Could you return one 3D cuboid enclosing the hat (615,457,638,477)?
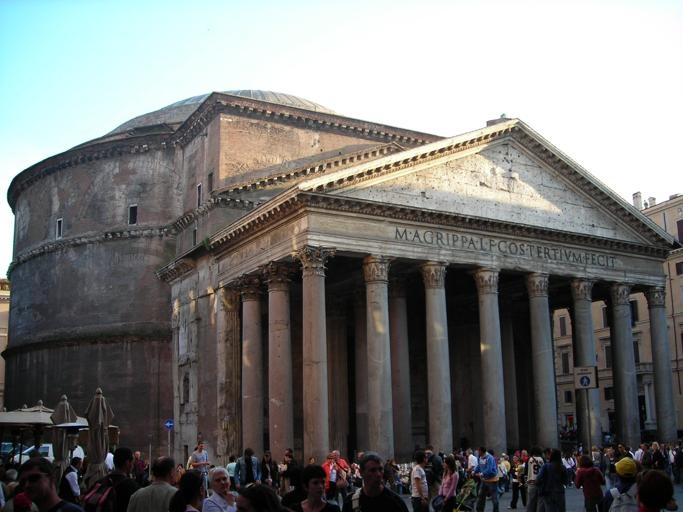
[{"bbox_3d":[6.103,4.523,18.597,0.451,0.325,0.637,-4,4,18],"label":"hat"}]
